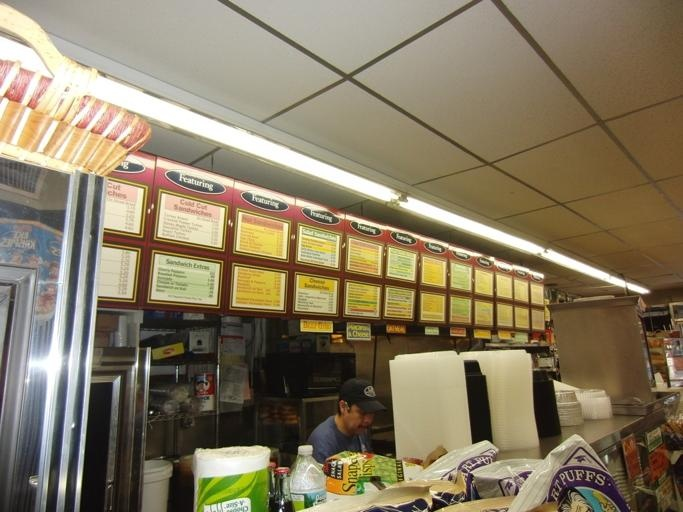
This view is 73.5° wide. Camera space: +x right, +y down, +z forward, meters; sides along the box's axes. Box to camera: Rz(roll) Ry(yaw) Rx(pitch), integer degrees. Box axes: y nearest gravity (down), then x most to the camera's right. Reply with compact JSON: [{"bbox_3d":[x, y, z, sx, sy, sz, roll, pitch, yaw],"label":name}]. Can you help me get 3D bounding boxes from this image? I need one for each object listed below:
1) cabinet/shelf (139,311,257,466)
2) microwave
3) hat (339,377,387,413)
[{"bbox_3d":[-1.106,1.009,3.650,0.550,1.087,1.144,-10,-18,25],"label":"cabinet/shelf"},{"bbox_3d":[-0.356,1.073,4.100,0.822,0.375,0.548,7,-19,-23],"label":"microwave"},{"bbox_3d":[0.132,0.837,2.836,0.331,0.148,0.222,8,-1,39],"label":"hat"}]
